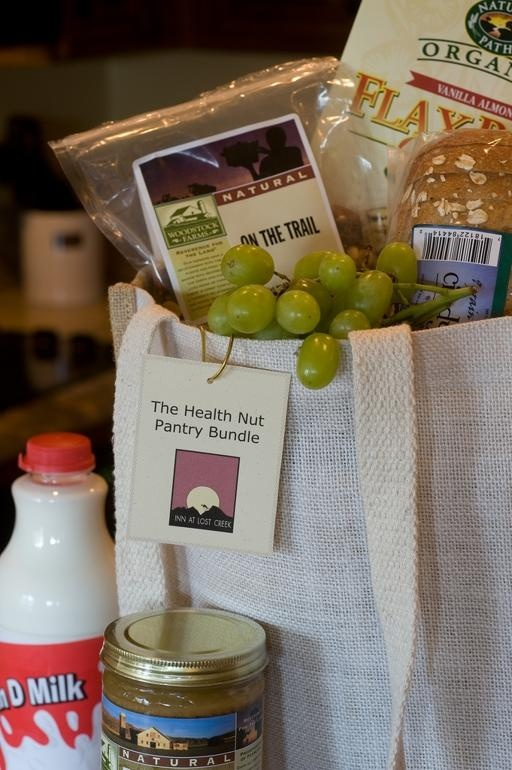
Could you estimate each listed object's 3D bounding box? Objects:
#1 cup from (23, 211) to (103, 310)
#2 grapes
[{"bbox_3d":[-0.636,-0.410,2.317,0.303,0.325,0.312,1,14,0],"label":"cup"},{"bbox_3d":[0.049,-0.040,0.412,0.187,0.091,0.047,-6,11,-8],"label":"grapes"}]
